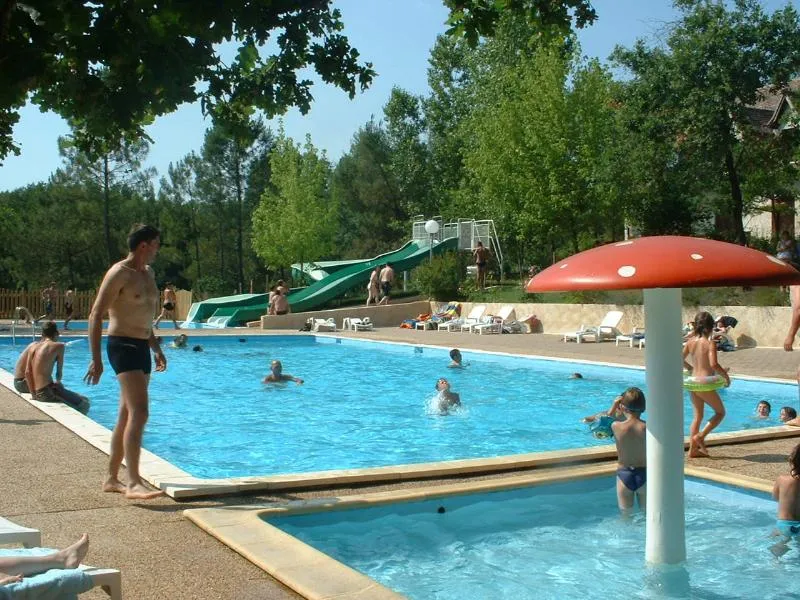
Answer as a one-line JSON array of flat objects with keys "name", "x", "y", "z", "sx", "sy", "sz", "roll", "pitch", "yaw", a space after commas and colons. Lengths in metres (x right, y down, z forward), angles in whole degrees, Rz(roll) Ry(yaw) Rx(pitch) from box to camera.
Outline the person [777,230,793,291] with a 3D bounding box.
[{"name": "person", "x": 10.700, "y": -1.099, "z": 23.780, "sx": 0.457, "sy": 1.551, "sz": 1.807, "roll": 0, "pitch": 0, "yaw": 24}]

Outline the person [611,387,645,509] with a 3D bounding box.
[{"name": "person", "x": 2.233, "y": 1.459, "z": 8.403, "sx": 0.303, "sy": 1.182, "sz": 0.388, "roll": 0, "pitch": 0, "yaw": 18}]

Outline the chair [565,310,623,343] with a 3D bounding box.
[{"name": "chair", "x": 5.560, "y": 0.766, "z": 24.474, "sx": 1.615, "sy": 0.766, "sz": 0.836, "roll": -2, "pitch": -1, "yaw": -28}]

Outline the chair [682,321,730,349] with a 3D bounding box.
[{"name": "chair", "x": 5.029, "y": 0.572, "z": 13.976, "sx": 0.804, "sy": 0.598, "sz": 0.606, "roll": -4, "pitch": -8, "yaw": 33}]

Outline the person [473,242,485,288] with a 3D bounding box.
[{"name": "person", "x": 3.296, "y": -1.434, "z": 35.002, "sx": 0.422, "sy": 1.904, "sz": 1.292, "roll": 0, "pitch": 0, "yaw": 4}]

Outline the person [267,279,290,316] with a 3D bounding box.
[{"name": "person", "x": -4.592, "y": -0.106, "z": 32.553, "sx": 0.695, "sy": 1.307, "sz": 2.374, "roll": 0, "pitch": -1, "yaw": -7}]

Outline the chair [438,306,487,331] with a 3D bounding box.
[{"name": "chair", "x": 2.322, "y": 0.646, "z": 29.871, "sx": 1.438, "sy": 0.723, "sz": 0.838, "roll": -1, "pitch": -1, "yaw": -30}]

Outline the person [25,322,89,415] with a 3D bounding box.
[{"name": "person", "x": -5.024, "y": 0.982, "z": 12.537, "sx": 0.700, "sy": 1.291, "sz": 1.048, "roll": 0, "pitch": 0, "yaw": -32}]

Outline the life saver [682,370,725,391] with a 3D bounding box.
[{"name": "life saver", "x": 3.456, "y": 0.955, "z": 9.751, "sx": 0.440, "sy": 0.218, "sz": 0.573, "roll": 0, "pitch": -1, "yaw": 21}]

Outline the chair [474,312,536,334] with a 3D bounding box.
[{"name": "chair", "x": 3.506, "y": 0.766, "z": 28.094, "sx": 1.996, "sy": 0.535, "sz": 0.916, "roll": 0, "pitch": -1, "yaw": 1}]

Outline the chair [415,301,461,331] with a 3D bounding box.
[{"name": "chair", "x": 1.421, "y": 0.574, "z": 31.522, "sx": 0.727, "sy": 0.832, "sz": 2.258, "roll": 0, "pitch": 8, "yaw": 41}]

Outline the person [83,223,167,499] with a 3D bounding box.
[{"name": "person", "x": -2.569, "y": 0.537, "z": 8.188, "sx": 0.682, "sy": 2.569, "sz": 0.733, "roll": 0, "pitch": 0, "yaw": 31}]
